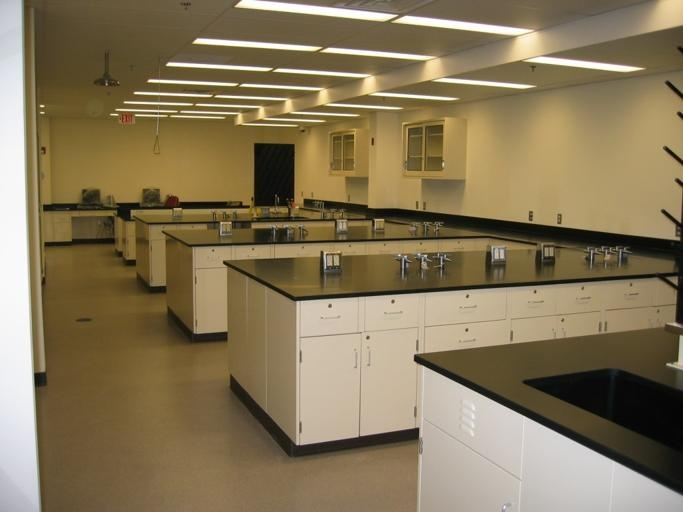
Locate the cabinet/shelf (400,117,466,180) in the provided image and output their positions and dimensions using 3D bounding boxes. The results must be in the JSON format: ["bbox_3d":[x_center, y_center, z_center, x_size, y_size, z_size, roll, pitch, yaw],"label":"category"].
[{"bbox_3d":[1.501,-1.779,9.149,0.419,0.943,1.033,-4,9,-34],"label":"cabinet/shelf"}]

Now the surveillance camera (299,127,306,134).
[{"bbox_3d":[-1.067,-3.304,14.294,0.131,0.107,0.188,0,3,-42],"label":"surveillance camera"}]

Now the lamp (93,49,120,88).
[{"bbox_3d":[-2.641,-2.079,5.999,0.330,0.378,0.326,-7,15,-44],"label":"lamp"}]

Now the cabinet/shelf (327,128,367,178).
[{"bbox_3d":[0.133,-2.103,11.294,0.391,0.967,1.060,-1,7,-31],"label":"cabinet/shelf"}]

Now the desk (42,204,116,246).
[{"bbox_3d":[-6.741,-0.725,13.744,1.720,0.901,0.643,-4,9,-29],"label":"desk"}]
